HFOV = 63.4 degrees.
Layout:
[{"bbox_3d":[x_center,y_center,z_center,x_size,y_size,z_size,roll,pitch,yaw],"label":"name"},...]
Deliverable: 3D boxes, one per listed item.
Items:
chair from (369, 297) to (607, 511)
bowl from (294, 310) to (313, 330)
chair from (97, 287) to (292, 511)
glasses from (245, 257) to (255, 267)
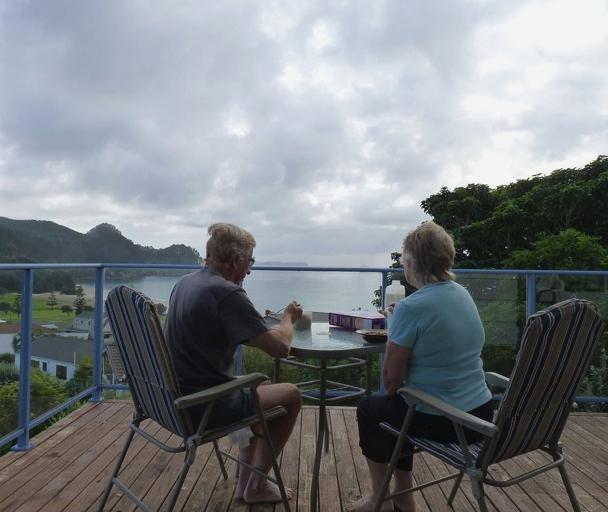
[{"bbox_3d":[0.909,0.554,2.209,0.758,1.175,0.827,4,-6,-40],"label":"chair"},{"bbox_3d":[-0.001,0.341,2.631,0.089,0.071,0.092,-1,-1,0],"label":"bowl"},{"bbox_3d":[-0.518,0.482,2.533,0.910,1.356,0.863,-2,-2,-32],"label":"chair"},{"bbox_3d":[-0.244,0.033,2.286,0.046,0.049,0.035,-15,11,-29],"label":"glasses"}]
